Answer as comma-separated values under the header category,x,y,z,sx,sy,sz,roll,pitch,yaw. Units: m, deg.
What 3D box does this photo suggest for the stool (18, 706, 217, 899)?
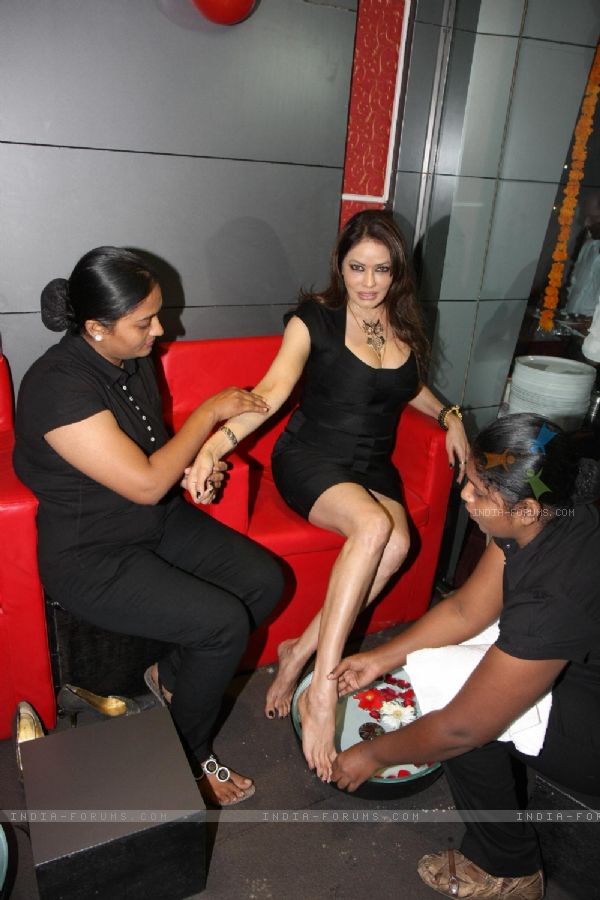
category,x,y,z,sx,sy,sz,roll,pitch,yaw
stool,-0.364,0.667,1.348,0.357,0.313,0.349,-7,43,-18

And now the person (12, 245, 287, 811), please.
category,x,y,z,sx,sy,sz,roll,pitch,yaw
person,-0.344,0.186,1.683,0.697,1.239,0.479,14,23,15

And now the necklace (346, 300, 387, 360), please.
category,x,y,z,sx,sy,sz,roll,pitch,yaw
necklace,0.201,-0.366,2.076,0.070,0.009,0.214,-14,69,-27

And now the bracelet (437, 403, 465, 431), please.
category,x,y,z,sx,sy,sz,roll,pitch,yaw
bracelet,0.485,-0.119,2.135,0.096,0.045,0.105,4,17,4

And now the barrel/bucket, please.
category,x,y,z,sx,sy,sz,roll,pitch,yaw
barrel/bucket,0.860,-0.236,2.297,0.315,0.229,0.328,1,14,0
